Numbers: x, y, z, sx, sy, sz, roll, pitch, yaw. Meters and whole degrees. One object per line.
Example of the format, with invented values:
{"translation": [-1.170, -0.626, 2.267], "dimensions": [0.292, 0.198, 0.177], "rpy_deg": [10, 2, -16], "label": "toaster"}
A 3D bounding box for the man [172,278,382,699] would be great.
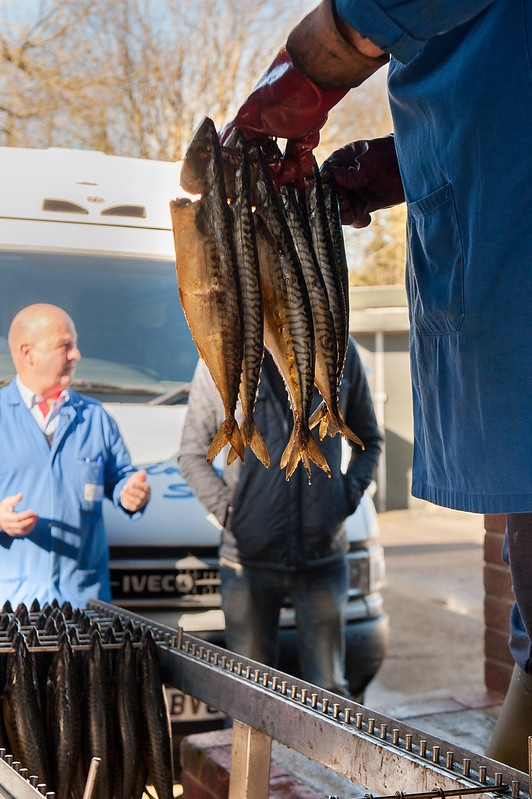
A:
{"translation": [0.082, 0.515, 5.813], "dimensions": [0.749, 1.946, 0.449], "rpy_deg": [-1, 8, 0], "label": "man"}

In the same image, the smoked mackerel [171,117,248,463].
{"translation": [-0.141, -0.268, 3.595], "dimensions": [0.143, 0.823, 0.141], "rpy_deg": [-7, 10, -11], "label": "smoked mackerel"}

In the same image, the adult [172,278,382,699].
{"translation": [0.088, 0.538, 5.824], "dimensions": [0.773, 1.921, 0.452], "rpy_deg": [-2, 9, -2], "label": "adult"}

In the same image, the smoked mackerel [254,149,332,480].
{"translation": [0.051, -0.217, 3.700], "dimensions": [0.144, 0.867, 0.173], "rpy_deg": [-13, -3, 13], "label": "smoked mackerel"}

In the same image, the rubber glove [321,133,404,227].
{"translation": [0.263, -0.574, 4.037], "dimensions": [0.233, 0.120, 0.138], "rpy_deg": [-24, -24, 10], "label": "rubber glove"}

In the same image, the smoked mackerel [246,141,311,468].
{"translation": [0.029, -0.233, 3.712], "dimensions": [0.139, 0.830, 0.156], "rpy_deg": [-11, 4, -28], "label": "smoked mackerel"}

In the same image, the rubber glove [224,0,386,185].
{"translation": [0.023, -0.679, 3.731], "dimensions": [0.202, 0.205, 0.692], "rpy_deg": [22, -34, -23], "label": "rubber glove"}

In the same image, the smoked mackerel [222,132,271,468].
{"translation": [-0.047, -0.273, 3.671], "dimensions": [0.127, 0.766, 0.078], "rpy_deg": [2, 6, 25], "label": "smoked mackerel"}

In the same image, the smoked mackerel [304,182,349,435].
{"translation": [0.144, -0.244, 3.759], "dimensions": [0.103, 0.654, 0.113], "rpy_deg": [-13, -14, 26], "label": "smoked mackerel"}

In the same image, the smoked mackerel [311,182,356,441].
{"translation": [0.144, -0.230, 3.796], "dimensions": [0.108, 0.637, 0.109], "rpy_deg": [-4, -6, -8], "label": "smoked mackerel"}

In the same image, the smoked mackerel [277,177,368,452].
{"translation": [0.123, -0.230, 3.809], "dimensions": [0.183, 0.852, 0.149], "rpy_deg": [-7, 3, -32], "label": "smoked mackerel"}
